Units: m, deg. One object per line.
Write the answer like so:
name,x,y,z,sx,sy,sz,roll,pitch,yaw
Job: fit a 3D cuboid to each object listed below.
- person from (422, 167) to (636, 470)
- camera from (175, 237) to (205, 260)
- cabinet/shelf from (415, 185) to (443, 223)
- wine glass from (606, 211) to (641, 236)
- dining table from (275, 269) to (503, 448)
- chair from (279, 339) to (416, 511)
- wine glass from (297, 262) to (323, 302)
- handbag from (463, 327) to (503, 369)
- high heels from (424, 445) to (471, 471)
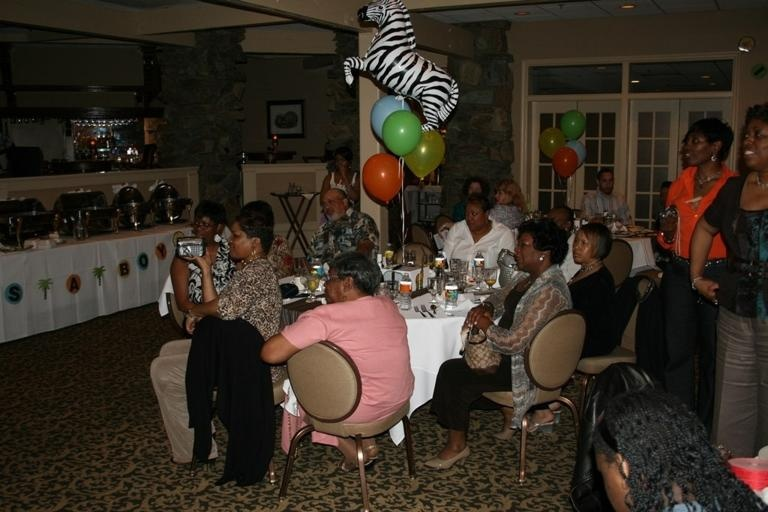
person,0.870,0.643,4.064,0.927,1.802,0.754,4,15,18
camera,-1.365,-0.048,3.945,0.226,0.141,0.169,4,-2,-3
cabinet/shelf,0.829,-0.994,10.642,0.666,0.794,0.477,4,13,15
wine glass,3.337,-0.423,7.685,0.375,0.149,0.472,5,11,38
dining table,0.033,0.533,4.174,1.142,0.653,1.129,-15,18,-31
chair,-0.253,1.146,3.698,0.790,1.279,0.815,5,18,27
wine glass,-0.634,0.200,4.718,0.233,0.212,0.250,0,-2,-3
handbag,0.710,0.660,3.903,0.171,0.320,0.226,-20,18,-36
high heels,0.480,1.517,4.121,0.341,0.097,0.134,-13,8,-20
